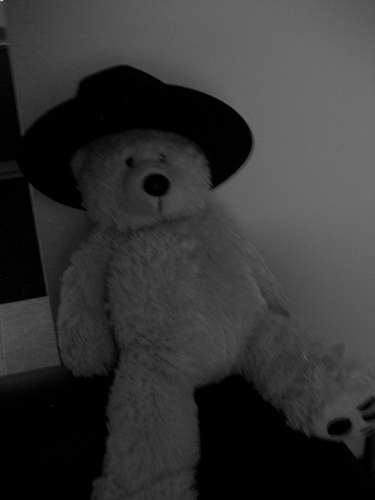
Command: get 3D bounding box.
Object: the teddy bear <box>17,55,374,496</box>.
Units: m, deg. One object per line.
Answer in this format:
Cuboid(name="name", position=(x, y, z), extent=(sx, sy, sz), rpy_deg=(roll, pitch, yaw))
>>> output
Cuboid(name="teddy bear", position=(0.200, -0.096, 1.825), extent=(0.959, 1.129, 1.094), rpy_deg=(-14, 18, -14))
